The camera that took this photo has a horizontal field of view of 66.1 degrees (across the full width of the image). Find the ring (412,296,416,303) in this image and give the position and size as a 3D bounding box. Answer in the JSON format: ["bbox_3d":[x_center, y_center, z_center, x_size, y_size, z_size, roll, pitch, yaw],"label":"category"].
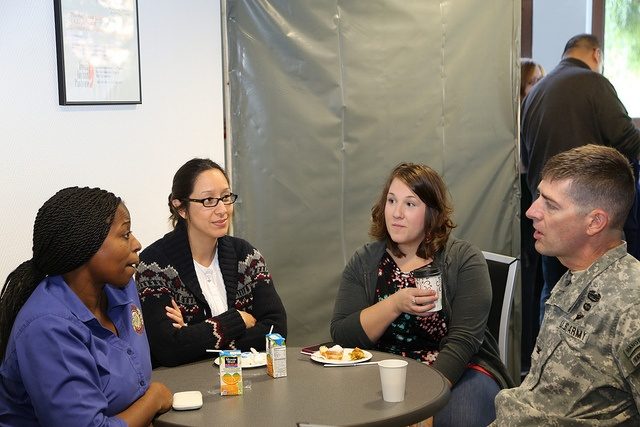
[{"bbox_3d":[0.433,0.404,2.274,0.008,0.024,0.016,-6,20,-25],"label":"ring"}]

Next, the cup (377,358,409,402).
[{"bbox_3d":[0.265,0.620,1.846,0.117,0.130,0.123,-1,-4,0],"label":"cup"}]

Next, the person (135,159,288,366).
[{"bbox_3d":[-0.592,0.271,2.576,0.609,1.042,0.779,-1,2,32],"label":"person"}]
